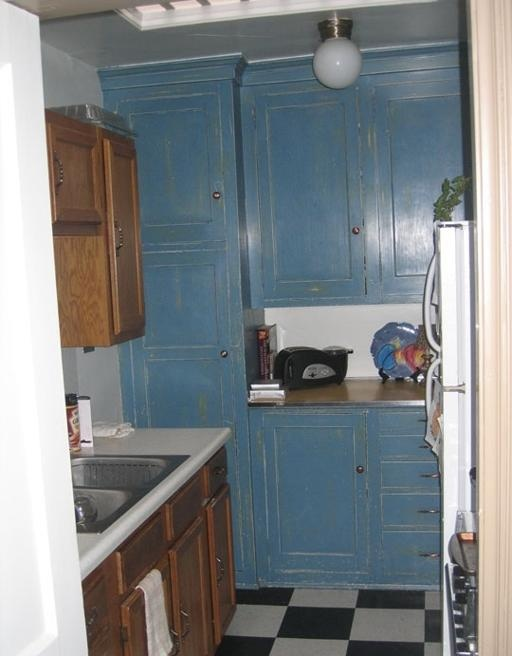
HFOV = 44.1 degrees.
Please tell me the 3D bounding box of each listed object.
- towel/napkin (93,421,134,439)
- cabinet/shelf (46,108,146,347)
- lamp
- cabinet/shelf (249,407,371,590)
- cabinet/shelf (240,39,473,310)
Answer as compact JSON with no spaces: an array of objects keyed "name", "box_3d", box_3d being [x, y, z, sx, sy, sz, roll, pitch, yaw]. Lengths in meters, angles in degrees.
[{"name":"towel/napkin","box_3d":[-0.556,0.394,2.450,0.159,0.039,0.124,-2,6,-2]},{"name":"cabinet/shelf","box_3d":[-0.568,-0.302,2.116,0.226,0.758,0.666,-2,5,4]},{"name":"lamp","box_3d":[0.317,-1.064,2.479,0.207,0.276,0.210,4,8,45]},{"name":"cabinet/shelf","box_3d":[0.271,0.732,2.996,0.541,0.827,0.403,-1,3,4]},{"name":"cabinet/shelf","box_3d":[0.531,-0.694,3.095,1.155,1.117,0.435,-3,22,5]}]
